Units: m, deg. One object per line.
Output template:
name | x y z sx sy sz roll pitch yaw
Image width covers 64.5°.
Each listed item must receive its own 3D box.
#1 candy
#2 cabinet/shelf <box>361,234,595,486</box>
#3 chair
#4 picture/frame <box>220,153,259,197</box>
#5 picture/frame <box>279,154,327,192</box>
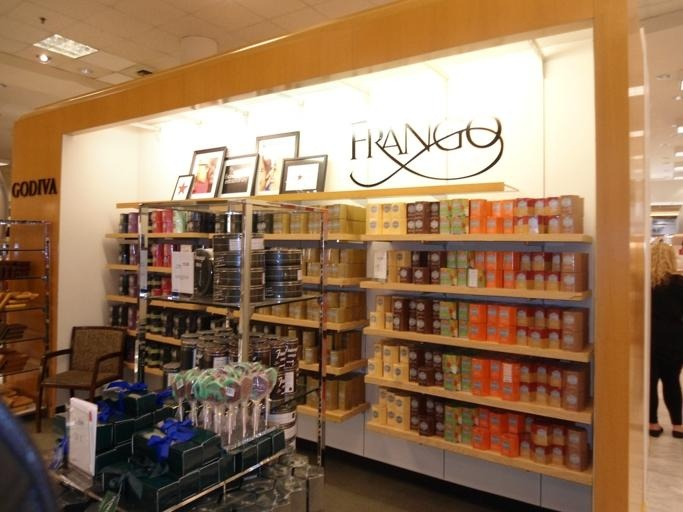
candy | -0.673 0.851 3.169 0.584 0.443 0.365 -2 1 -13
cabinet/shelf | 1.108 0.777 4.201 2.372 1.714 0.753 6 6 37
chair | -2.802 1.286 5.755 0.892 0.692 0.613 -1 1 7
picture/frame | -1.054 -0.830 5.677 0.583 0.472 0.045 3 -8 32
picture/frame | -0.351 -0.797 5.270 0.490 0.337 0.031 0 -6 27
